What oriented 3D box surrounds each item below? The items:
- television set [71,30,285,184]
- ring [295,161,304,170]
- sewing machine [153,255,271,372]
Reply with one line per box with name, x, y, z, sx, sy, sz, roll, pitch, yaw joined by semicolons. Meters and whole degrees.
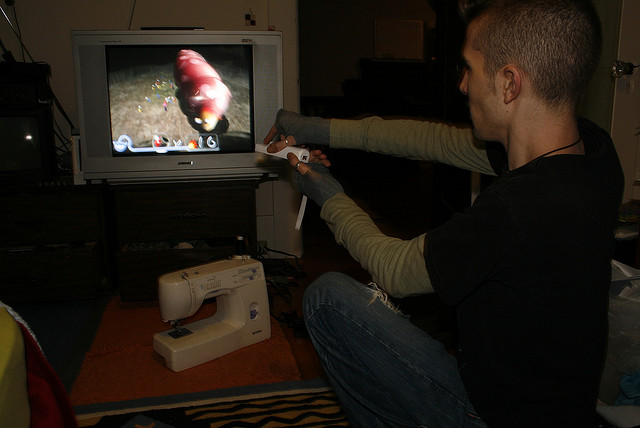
television set;-0.809;-0.673;3.377;1.593;1.119;0.848;-2;9;-6
ring;-0.084;-0.191;1.978;0.022;0.017;0.023;-45;23;26
sewing machine;-0.560;0.474;2.613;0.572;0.477;0.209;-11;19;-35
